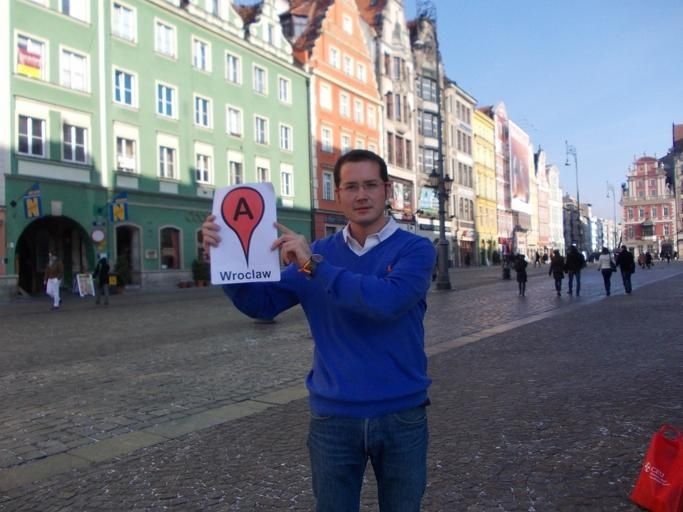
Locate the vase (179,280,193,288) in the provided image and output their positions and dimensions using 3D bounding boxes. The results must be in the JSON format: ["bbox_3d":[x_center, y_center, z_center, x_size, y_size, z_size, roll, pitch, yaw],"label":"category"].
[{"bbox_3d":[-7.760,1.409,28.247,0.314,0.319,0.416,-1,-7,-4],"label":"vase"}]

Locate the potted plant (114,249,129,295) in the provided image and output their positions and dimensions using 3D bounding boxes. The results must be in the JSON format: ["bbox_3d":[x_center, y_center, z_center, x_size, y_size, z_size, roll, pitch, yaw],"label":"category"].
[{"bbox_3d":[-9.599,0.753,24.719,0.434,1.293,0.903,-3,-1,13],"label":"potted plant"}]
